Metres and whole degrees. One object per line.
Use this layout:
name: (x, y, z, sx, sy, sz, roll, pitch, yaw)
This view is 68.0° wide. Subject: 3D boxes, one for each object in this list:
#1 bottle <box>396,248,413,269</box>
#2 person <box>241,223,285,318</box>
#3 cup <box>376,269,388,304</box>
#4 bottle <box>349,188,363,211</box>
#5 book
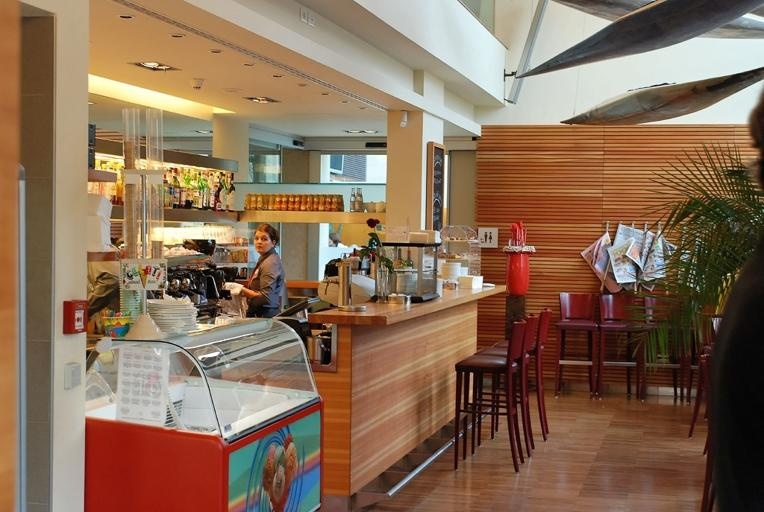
bottle: (0.216, 0.012, 5.355, 0.172, 0.186, 0.056, 3, 2, 0)
person: (-1.419, 0.163, 6.820, 0.504, 1.113, 0.662, 2, 2, -14)
cup: (0.008, 0.256, 5.228, 0.132, 0.299, 0.079, 2, 2, -16)
bottle: (-0.390, -0.881, 8.791, 0.206, 0.383, 0.216, 3, 2, 0)
book: (3.807, 0.022, 8.875, 1.250, 0.892, 0.455, 4, 2, 28)
